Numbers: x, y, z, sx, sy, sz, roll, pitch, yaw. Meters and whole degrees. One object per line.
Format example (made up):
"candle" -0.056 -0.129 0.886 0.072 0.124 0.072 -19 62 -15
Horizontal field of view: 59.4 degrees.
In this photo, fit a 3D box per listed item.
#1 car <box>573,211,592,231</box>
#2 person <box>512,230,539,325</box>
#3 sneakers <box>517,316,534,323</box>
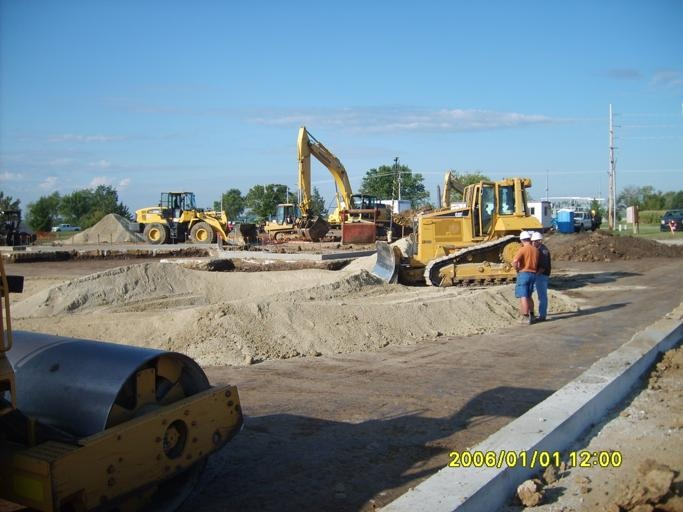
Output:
"car" 17.514 -2.455 43.199 0.943 0.924 1.807 -1 -2 25
"person" 3.344 0.420 10.859 0.424 1.614 0.774 5 11 18
"sneakers" 3.338 1.169 10.835 0.105 0.121 0.267 -1 5 -21
